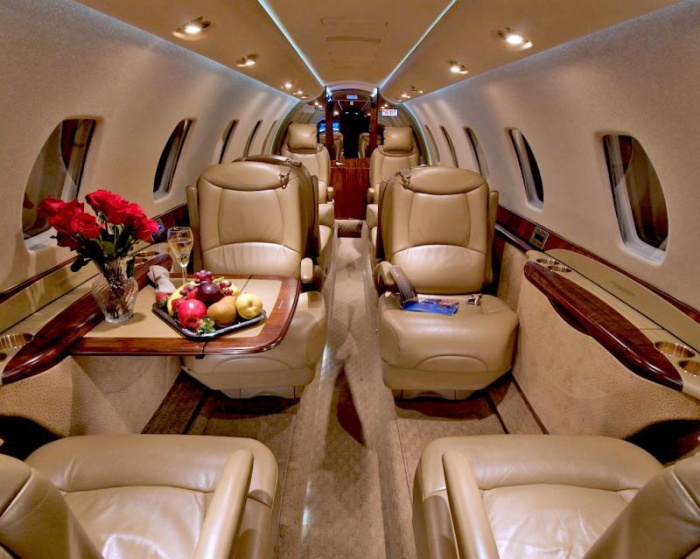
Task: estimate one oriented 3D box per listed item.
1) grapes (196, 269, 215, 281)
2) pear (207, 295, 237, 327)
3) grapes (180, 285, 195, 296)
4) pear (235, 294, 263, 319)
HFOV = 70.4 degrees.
[{"bbox_3d":[-0.794,-0.021,2.752,0.066,0.046,0.072,0,-7,-4],"label":"grapes"},{"bbox_3d":[-0.620,0.160,2.512,0.104,0.115,0.152,-2,34,33],"label":"pear"},{"bbox_3d":[-0.830,0.050,2.556,0.057,0.025,0.064,-15,48,-6],"label":"grapes"},{"bbox_3d":[-0.502,0.137,2.506,0.108,0.129,0.124,-4,17,-3],"label":"pear"}]
